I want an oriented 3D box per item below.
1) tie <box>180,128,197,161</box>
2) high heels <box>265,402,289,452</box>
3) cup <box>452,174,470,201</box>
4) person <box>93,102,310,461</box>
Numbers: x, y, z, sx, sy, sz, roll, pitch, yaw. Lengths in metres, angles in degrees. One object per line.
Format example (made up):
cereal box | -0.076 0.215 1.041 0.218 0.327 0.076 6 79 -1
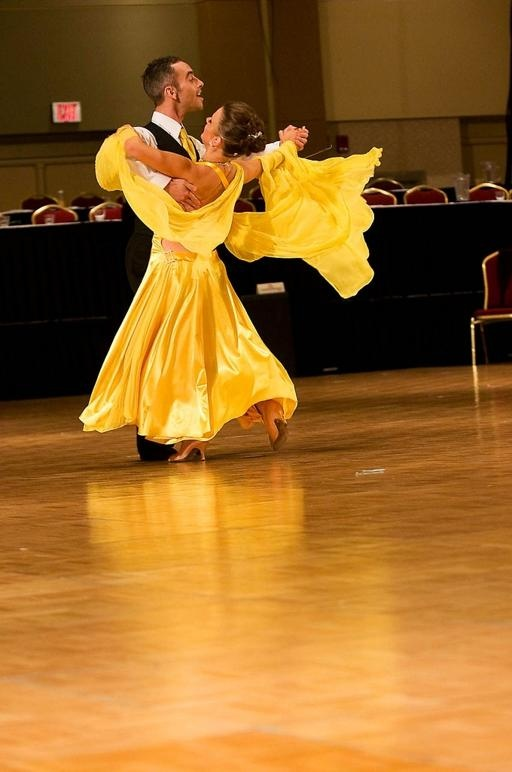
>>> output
tie | -0.323 -1.159 3.381 0.065 0.189 0.010 -6 -20 -32
high heels | 0.098 0.197 3.311 0.097 0.229 0.092 -5 -3 1
cup | 2.439 -2.304 8.195 0.152 0.226 0.322 -7 2 15
person | -0.361 -0.461 3.311 0.991 1.436 0.437 -8 3 -9
